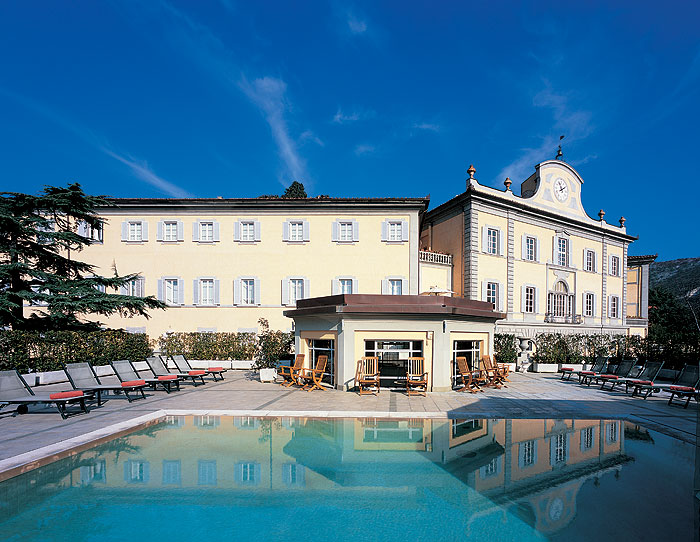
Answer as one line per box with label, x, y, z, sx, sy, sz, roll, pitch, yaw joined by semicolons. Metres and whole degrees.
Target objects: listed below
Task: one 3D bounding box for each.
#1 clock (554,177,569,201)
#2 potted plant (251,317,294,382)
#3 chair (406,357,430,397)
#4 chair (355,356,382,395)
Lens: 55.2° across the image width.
clock;13.922;-5.480;44.237;1.466;1.484;0.152;8;-11;-36
potted plant;-4.138;3.905;35.112;2.143;2.816;1.887;2;-13;-12
chair;2.620;4.015;25.660;0.826;1.301;1.424;2;14;7
chair;0.681;4.023;25.557;0.863;1.449;1.415;0;14;0
